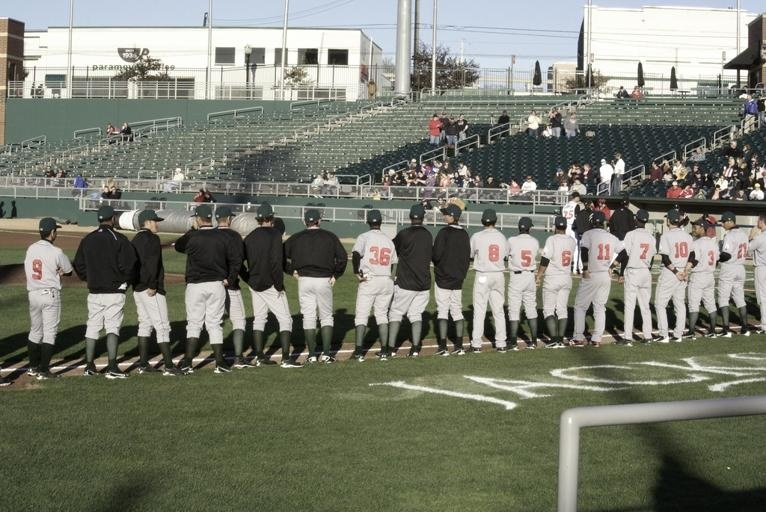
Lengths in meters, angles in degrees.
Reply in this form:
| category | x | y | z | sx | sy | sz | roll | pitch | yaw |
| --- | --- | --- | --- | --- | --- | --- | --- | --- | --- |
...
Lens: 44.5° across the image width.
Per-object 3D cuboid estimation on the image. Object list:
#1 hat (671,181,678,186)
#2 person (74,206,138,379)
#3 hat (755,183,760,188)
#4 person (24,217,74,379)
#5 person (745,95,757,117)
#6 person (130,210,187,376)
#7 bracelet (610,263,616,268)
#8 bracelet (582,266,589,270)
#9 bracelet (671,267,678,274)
| category | x | y | z | sx | sy | sz | roll | pitch | yaw |
| --- | --- | --- | --- | --- | --- | --- | --- | --- | --- |
| hat | 9.029 | -2.183 | 28.692 | 0.179 | 0.090 | 0.178 | -12 | 22 | 3 |
| person | -4.608 | 0.617 | 15.530 | 1.006 | 2.772 | 0.684 | 0 | 7 | -5 |
| hat | 11.045 | -2.063 | 27.474 | 0.141 | 0.126 | 0.203 | 3 | 8 | 16 |
| person | -5.566 | 0.705 | 15.505 | 0.675 | 2.617 | 0.554 | -2 | 8 | -20 |
| person | 14.636 | -5.863 | 36.861 | 0.358 | 0.627 | 1.156 | 2 | 8 | 8 |
| person | -3.864 | 0.620 | 15.751 | 0.851 | 2.705 | 0.523 | 6 | 9 | 34 |
| bracelet | 4.427 | 0.196 | 17.865 | 0.104 | 0.025 | 0.103 | -1 | 18 | 5 |
| bracelet | 3.837 | 0.234 | 17.565 | 0.101 | 0.092 | 0.027 | -5 | -7 | 42 |
| bracelet | 5.600 | 0.287 | 17.822 | 0.136 | 0.140 | 0.074 | 0 | 8 | -6 |
